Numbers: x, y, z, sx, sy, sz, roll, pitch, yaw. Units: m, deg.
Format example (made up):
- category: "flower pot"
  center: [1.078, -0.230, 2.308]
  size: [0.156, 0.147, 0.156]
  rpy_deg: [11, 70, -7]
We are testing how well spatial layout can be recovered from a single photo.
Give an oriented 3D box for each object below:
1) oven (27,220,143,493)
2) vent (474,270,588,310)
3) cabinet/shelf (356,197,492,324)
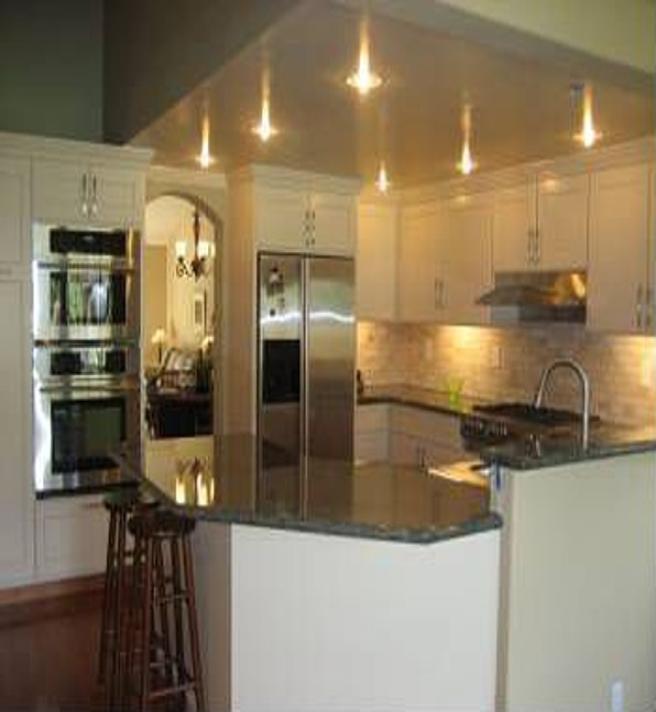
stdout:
- category: "oven"
  center: [-1.062, -0.048, 3.242]
  size: [0.430, 1.217, 0.354]
  rpy_deg: [-5, 25, -26]
- category: "vent"
  center: [0.946, -0.323, 3.474]
  size: [0.158, 0.183, 0.703]
  rpy_deg: [-1, 4, -25]
- category: "cabinet/shelf"
  center: [0.549, -0.565, 4.150]
  size: [0.217, 0.681, 0.613]
  rpy_deg: [-1, 3, -39]
